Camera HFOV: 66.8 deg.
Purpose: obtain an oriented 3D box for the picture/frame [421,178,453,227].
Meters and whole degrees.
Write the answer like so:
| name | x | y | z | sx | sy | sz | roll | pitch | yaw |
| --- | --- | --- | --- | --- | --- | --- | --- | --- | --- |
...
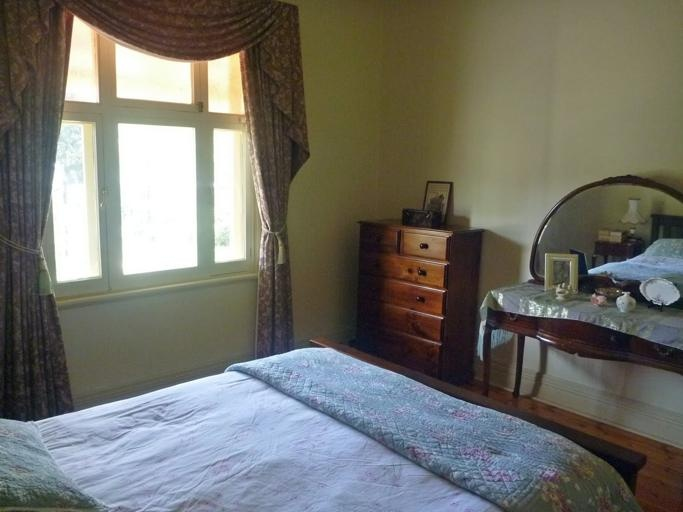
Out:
| name | x | y | z | sx | sy | sz | roll | pitch | yaw |
| --- | --- | --- | --- | --- | --- | --- | --- | --- | --- |
| picture/frame | 0.807 | -0.438 | 4.304 | 0.024 | 0.604 | 0.415 | 2 | 0 | -36 |

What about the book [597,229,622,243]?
| name | x | y | z | sx | sy | sz | roll | pitch | yaw |
| --- | --- | --- | --- | --- | --- | --- | --- | --- | --- |
| book | 1.802 | -0.134 | 3.470 | 0.113 | 0.086 | 0.056 | 11 | 1 | 37 |

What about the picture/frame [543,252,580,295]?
| name | x | y | z | sx | sy | sz | roll | pitch | yaw |
| --- | --- | --- | --- | --- | --- | --- | --- | --- | --- |
| picture/frame | 1.490 | 0.122 | 3.484 | 0.252 | 0.352 | 0.044 | 1 | 2 | 1 |

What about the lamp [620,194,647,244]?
| name | x | y | z | sx | sy | sz | roll | pitch | yaw |
| --- | --- | --- | --- | --- | --- | --- | --- | --- | --- |
| lamp | 1.915 | -0.236 | 3.396 | 0.186 | 0.279 | 0.193 | 1 | 2 | 23 |

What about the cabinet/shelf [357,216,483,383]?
| name | x | y | z | sx | sy | sz | roll | pitch | yaw |
| --- | --- | --- | --- | --- | --- | --- | --- | --- | --- |
| cabinet/shelf | 0.629 | 0.328 | 4.389 | 0.550 | 1.249 | 0.884 | -10 | 17 | -44 |
